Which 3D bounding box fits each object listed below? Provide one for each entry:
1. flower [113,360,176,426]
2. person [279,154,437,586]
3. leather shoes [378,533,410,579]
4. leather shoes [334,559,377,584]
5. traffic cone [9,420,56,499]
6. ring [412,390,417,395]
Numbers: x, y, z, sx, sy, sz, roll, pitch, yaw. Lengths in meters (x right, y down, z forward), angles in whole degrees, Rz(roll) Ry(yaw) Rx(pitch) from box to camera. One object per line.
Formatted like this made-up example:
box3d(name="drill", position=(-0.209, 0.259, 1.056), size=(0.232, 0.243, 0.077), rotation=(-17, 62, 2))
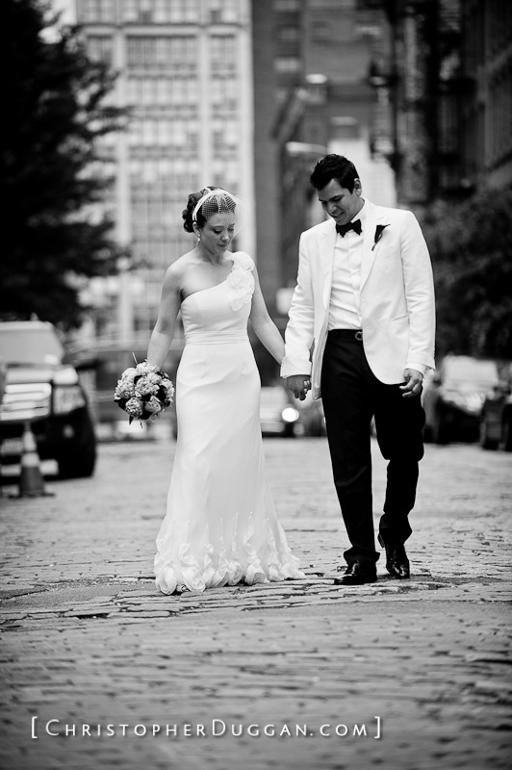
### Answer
box3d(name="flower", position=(-0.517, 0.056, 7.766), size=(0.243, 0.287, 0.277), rotation=(-7, -3, 1))
box3d(name="person", position=(0.459, -0.044, 7.284), size=(0.628, 1.870, 0.410), rotation=(0, 4, 1))
box3d(name="leather shoes", position=(0.642, 0.786, 7.466), size=(0.089, 0.269, 0.109), rotation=(-18, 7, -27))
box3d(name="leather shoes", position=(0.457, 0.846, 7.324), size=(0.219, 0.100, 0.080), rotation=(6, -10, -37))
box3d(name="traffic cone", position=(-1.834, 0.721, 14.562), size=(0.477, 0.692, 0.498), rotation=(0, 4, 2))
box3d(name="ring", position=(0.693, 0.048, 7.179), size=(0.021, 0.025, 0.067), rotation=(0, 4, 9))
